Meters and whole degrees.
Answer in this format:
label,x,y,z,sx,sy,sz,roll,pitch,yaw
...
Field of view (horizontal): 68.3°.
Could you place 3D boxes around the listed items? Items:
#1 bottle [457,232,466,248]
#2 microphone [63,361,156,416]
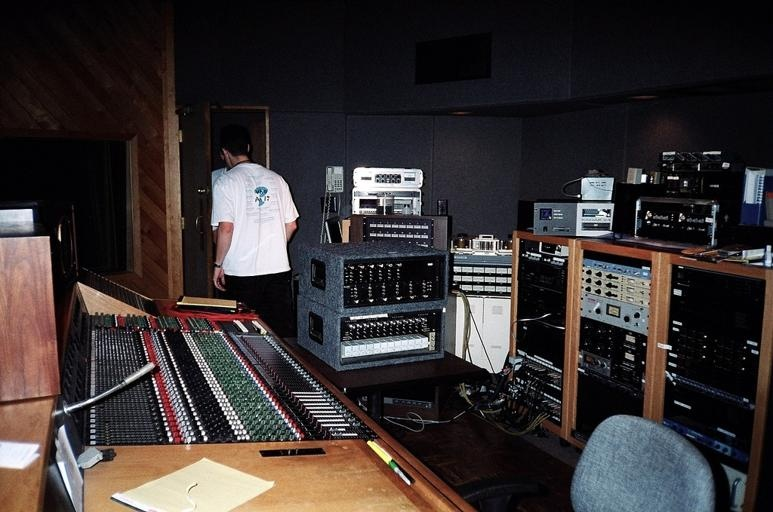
label,x,y,z,sx,sy,sz,roll,pitch,yaw
bottle,0.707,-0.138,5.371,0.086,0.108,0.184,2,7,7
microphone,-1.012,0.486,2.070,0.341,0.079,0.059,-26,52,-3
